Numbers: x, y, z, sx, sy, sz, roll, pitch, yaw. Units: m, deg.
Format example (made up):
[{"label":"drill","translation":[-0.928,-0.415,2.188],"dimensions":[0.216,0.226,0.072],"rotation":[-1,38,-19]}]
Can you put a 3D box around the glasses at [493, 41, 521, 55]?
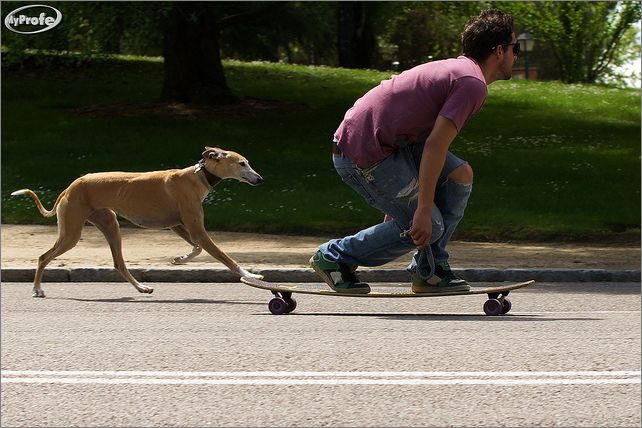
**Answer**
[{"label":"glasses","translation":[2.246,-2.003,12.192],"dimensions":[0.281,0.057,0.222],"rotation":[-9,-2,0]}]
